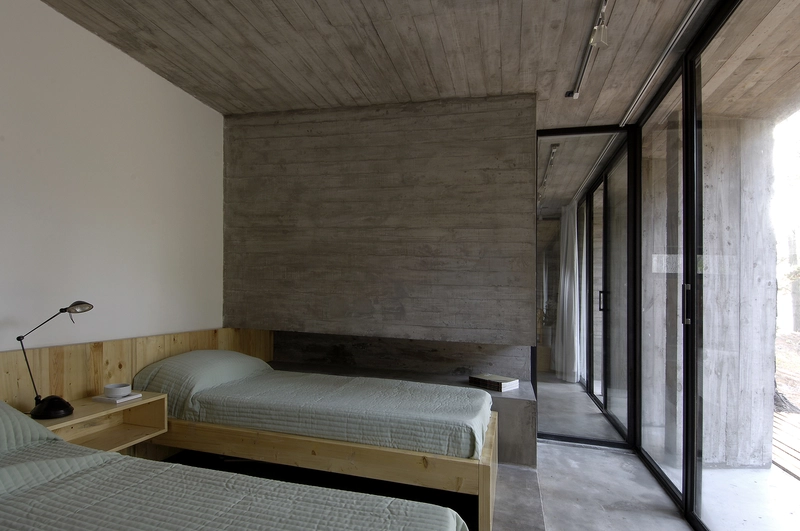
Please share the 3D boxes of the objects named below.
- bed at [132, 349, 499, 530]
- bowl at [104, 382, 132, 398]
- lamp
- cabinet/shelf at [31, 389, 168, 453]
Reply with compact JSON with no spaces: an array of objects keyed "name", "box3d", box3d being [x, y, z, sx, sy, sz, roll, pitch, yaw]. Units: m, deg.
[{"name":"bed","box3d":[-0.567,1.081,4.073,2.471,0.746,1.232,0,0,18]},{"name":"bowl","box3d":[-2.010,0.882,3.774,0.120,0.048,0.113,1,-1,0]},{"name":"lamp","box3d":[-2.288,0.593,3.564,0.427,0.708,0.501,-10,18,-36]},{"name":"cabinet/shelf","box3d":[-2.045,1.101,3.788,0.405,0.280,0.728,1,-5,9]}]
